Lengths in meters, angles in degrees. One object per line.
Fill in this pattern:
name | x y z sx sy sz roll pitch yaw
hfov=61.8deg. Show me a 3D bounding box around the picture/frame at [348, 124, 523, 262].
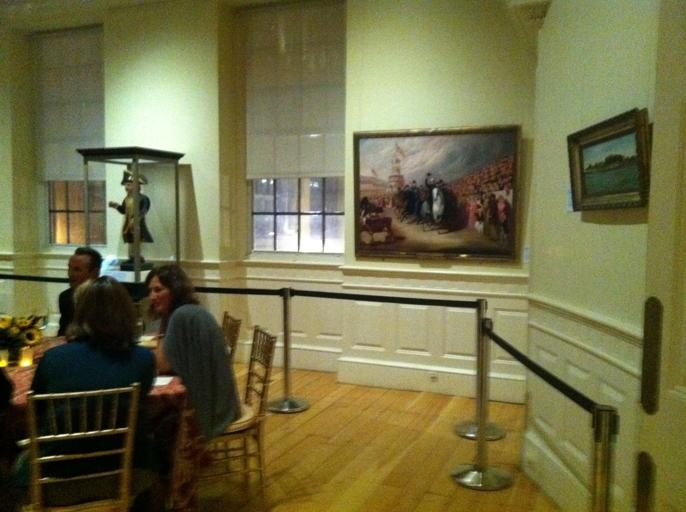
picture/frame | 0.720 -0.476 4.172 1.000 0.752 0.043 3 7 30
